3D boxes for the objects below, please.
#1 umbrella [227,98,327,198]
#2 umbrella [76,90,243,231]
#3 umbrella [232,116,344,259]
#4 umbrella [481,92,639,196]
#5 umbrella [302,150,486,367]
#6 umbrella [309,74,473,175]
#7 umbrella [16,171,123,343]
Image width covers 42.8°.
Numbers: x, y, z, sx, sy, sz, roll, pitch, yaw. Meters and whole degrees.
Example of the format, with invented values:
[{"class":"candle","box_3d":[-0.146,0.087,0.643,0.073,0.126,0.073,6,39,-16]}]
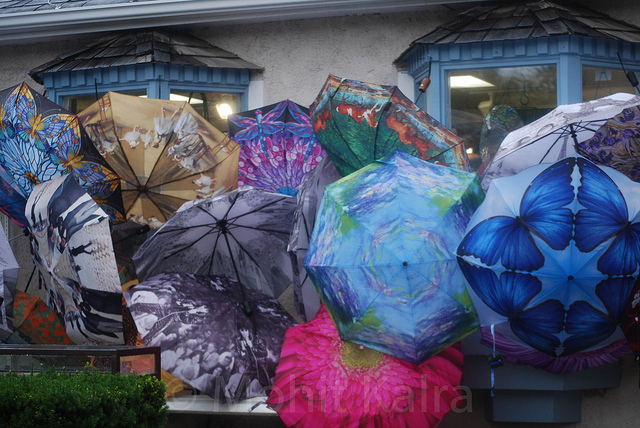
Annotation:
[{"class":"umbrella","box_3d":[-0.519,-0.799,11.643,1.378,1.343,1.193,-3,-7,13]},{"class":"umbrella","box_3d":[-2.210,-0.842,10.627,1.873,1.832,1.242,-14,-30,-42]},{"class":"umbrella","box_3d":[-0.555,-0.413,10.478,1.652,1.713,1.221,-6,-3,17]},{"class":"umbrella","box_3d":[2.738,-0.903,9.587,1.421,0.915,1.412,-25,-27,-19]},{"class":"umbrella","box_3d":[0.635,0.226,9.788,2.641,1.712,2.747,0,31,11]},{"class":"umbrella","box_3d":[0.886,-1.174,9.897,1.371,1.006,1.357,27,-31,26]},{"class":"umbrella","box_3d":[-2.867,0.580,9.628,1.448,2.048,0.507,0,1,39]}]
